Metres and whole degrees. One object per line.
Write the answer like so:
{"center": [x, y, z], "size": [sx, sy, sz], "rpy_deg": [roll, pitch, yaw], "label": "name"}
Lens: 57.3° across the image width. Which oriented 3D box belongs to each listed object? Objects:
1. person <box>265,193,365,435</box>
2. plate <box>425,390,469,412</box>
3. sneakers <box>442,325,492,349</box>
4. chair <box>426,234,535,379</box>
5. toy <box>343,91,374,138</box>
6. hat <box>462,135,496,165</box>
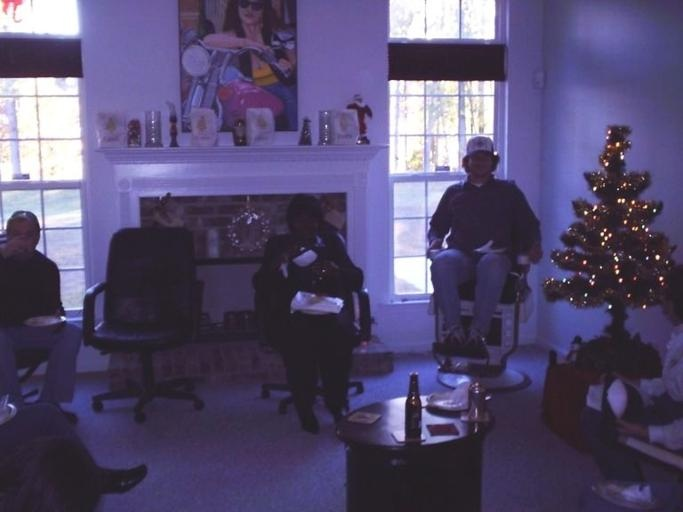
{"center": [-0.158, 0.349, 4.225], "size": [0.638, 1.449, 0.825], "rpy_deg": [-3, 14, -10], "label": "person"}
{"center": [0.569, 0.777, 3.350], "size": [0.144, 0.061, 0.111], "rpy_deg": [1, 13, 8], "label": "plate"}
{"center": [0.921, 0.590, 4.603], "size": [0.355, 0.150, 0.140], "rpy_deg": [2, 11, 6], "label": "sneakers"}
{"center": [1.046, 0.454, 5.117], "size": [0.896, 1.137, 0.803], "rpy_deg": [1, 2, -16], "label": "chair"}
{"center": [0.160, -1.172, 5.312], "size": [0.226, 0.399, 0.263], "rpy_deg": [0, 14, 2], "label": "toy"}
{"center": [1.104, -0.860, 4.951], "size": [0.187, 0.143, 0.265], "rpy_deg": [0, -8, 13], "label": "hat"}
